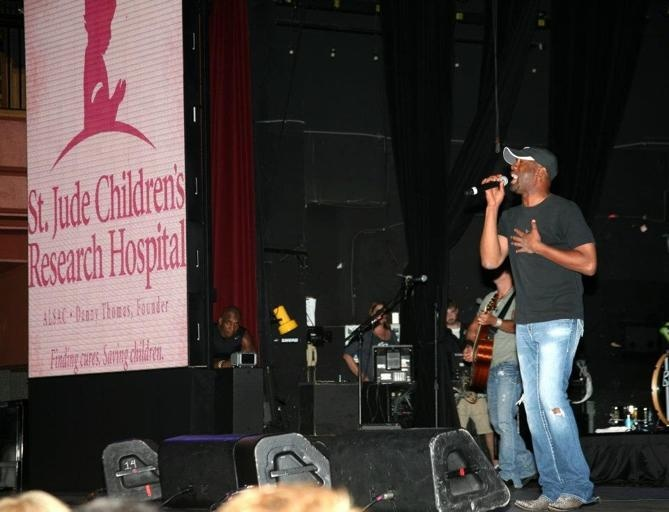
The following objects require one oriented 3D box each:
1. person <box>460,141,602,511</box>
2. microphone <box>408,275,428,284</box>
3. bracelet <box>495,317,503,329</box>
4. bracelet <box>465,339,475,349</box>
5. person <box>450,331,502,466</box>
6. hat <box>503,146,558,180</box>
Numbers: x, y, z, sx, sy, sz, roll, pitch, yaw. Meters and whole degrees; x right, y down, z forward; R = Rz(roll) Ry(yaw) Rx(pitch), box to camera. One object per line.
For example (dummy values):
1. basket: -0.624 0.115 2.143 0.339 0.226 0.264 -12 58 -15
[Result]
1. person: 1.466 0.457 6.073 0.783 2.515 0.421 -9 -9 18
2. microphone: 0.758 0.223 7.872 0.063 0.074 0.252 -5 -2 -18
3. bracelet: 1.353 0.563 7.267 0.054 0.083 0.080 10 17 30
4. bracelet: 1.219 0.791 7.814 0.050 0.086 0.086 3 -9 -23
5. person: 1.435 1.496 8.919 0.601 1.149 0.305 -4 -2 22
6. hat: 1.402 -0.682 6.263 0.335 0.180 0.229 25 3 -6
